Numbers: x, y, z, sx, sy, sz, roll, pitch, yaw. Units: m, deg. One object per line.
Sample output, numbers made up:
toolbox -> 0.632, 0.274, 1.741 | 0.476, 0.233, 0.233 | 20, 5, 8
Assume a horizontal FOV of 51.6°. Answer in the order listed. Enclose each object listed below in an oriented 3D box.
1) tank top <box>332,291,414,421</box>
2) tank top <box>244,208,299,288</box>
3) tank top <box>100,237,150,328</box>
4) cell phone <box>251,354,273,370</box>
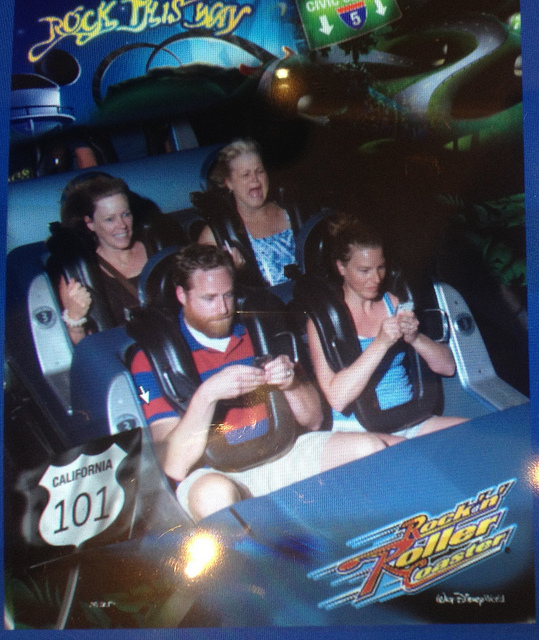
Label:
tank top -> 0.375, 0.156, 2.239 | 0.412, 0.430, 0.172 | -20, 20, -8
tank top -> 0.009, -0.279, 2.298 | 0.220, 0.342, 0.088 | -37, 52, -25
tank top -> -0.594, -0.147, 2.277 | 0.210, 0.318, 0.073 | -2, 5, 8
cell phone -> -0.031, 0.161, 2.227 | 0.072, 0.051, 0.021 | -38, 27, 12
